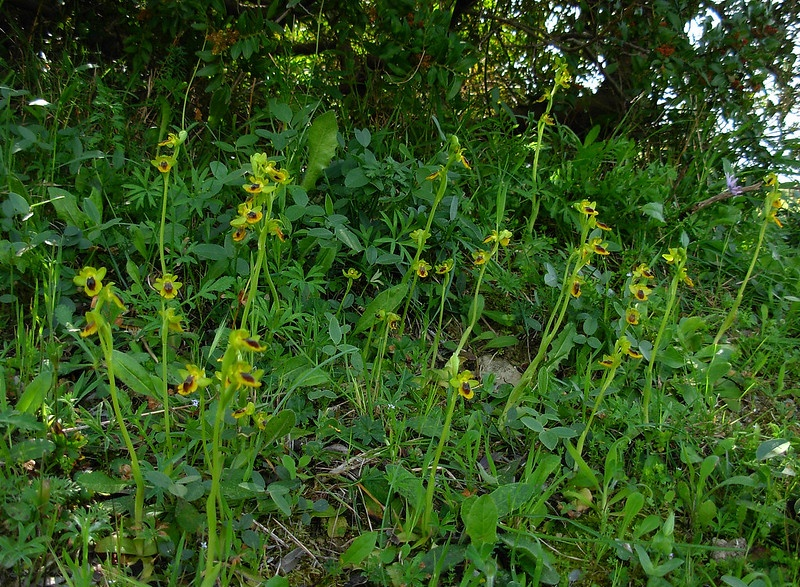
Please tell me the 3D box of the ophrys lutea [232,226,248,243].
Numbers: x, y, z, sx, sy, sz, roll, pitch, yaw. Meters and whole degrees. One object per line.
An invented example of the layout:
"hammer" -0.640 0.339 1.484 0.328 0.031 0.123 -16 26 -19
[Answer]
"ophrys lutea" -0.613 -0.224 2.418 0.068 0.079 0.028 5 -11 35

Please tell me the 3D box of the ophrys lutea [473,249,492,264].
"ophrys lutea" 0.354 -0.155 2.679 0.070 0.070 0.029 57 39 -8

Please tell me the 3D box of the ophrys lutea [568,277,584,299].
"ophrys lutea" 0.734 -0.023 2.624 0.081 0.088 0.029 8 -6 -37
